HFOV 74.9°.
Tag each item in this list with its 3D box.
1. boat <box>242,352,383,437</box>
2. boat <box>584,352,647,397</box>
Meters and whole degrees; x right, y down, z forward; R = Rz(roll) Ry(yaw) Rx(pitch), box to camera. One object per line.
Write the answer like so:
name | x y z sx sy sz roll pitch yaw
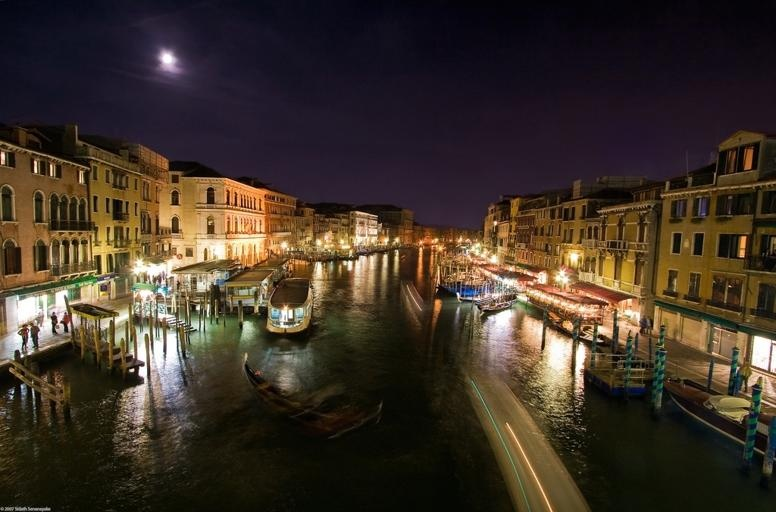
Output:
boat | -5.659 11.114 37.021 9.872 2.259 3.912 3 3 20
boat | 18.134 9.423 40.483 2.829 1.726 4.598 1 10 10
